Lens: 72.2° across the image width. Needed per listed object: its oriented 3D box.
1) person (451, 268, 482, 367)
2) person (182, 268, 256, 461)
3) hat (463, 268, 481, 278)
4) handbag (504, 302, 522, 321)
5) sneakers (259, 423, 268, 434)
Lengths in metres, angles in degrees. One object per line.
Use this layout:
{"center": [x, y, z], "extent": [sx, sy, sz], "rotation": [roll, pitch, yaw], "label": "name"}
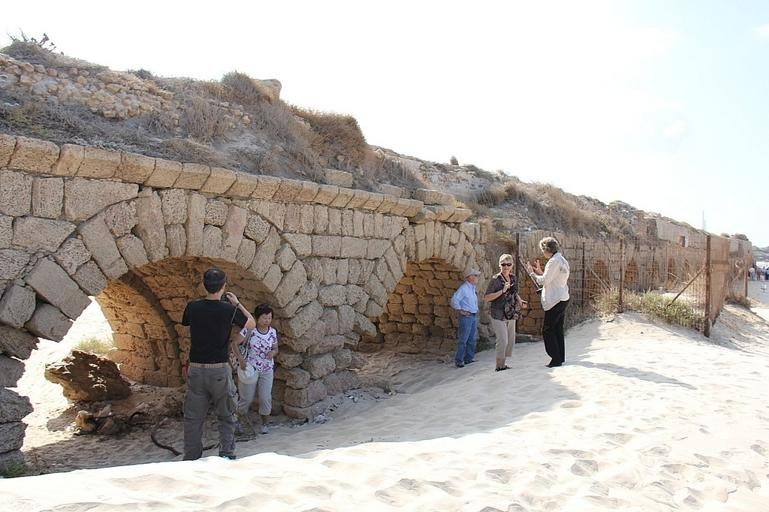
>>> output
{"center": [1.576, 1.245, 10.344], "extent": [0.427, 1.913, 0.689], "rotation": [5, 9, 19], "label": "person"}
{"center": [-2.007, 1.394, 6.309], "extent": [0.728, 2.437, 0.531], "rotation": [-1, 9, -21], "label": "person"}
{"center": [1.759, 0.348, 10.265], "extent": [0.211, 0.100, 0.307], "rotation": [3, 6, 43], "label": "hat"}
{"center": [2.135, 0.959, 8.873], "extent": [0.270, 0.300, 0.069], "rotation": [-4, 11, -36], "label": "handbag"}
{"center": [-1.775, 2.592, 7.844], "extent": [0.147, 0.105, 0.194], "rotation": [0, 10, -9], "label": "sneakers"}
